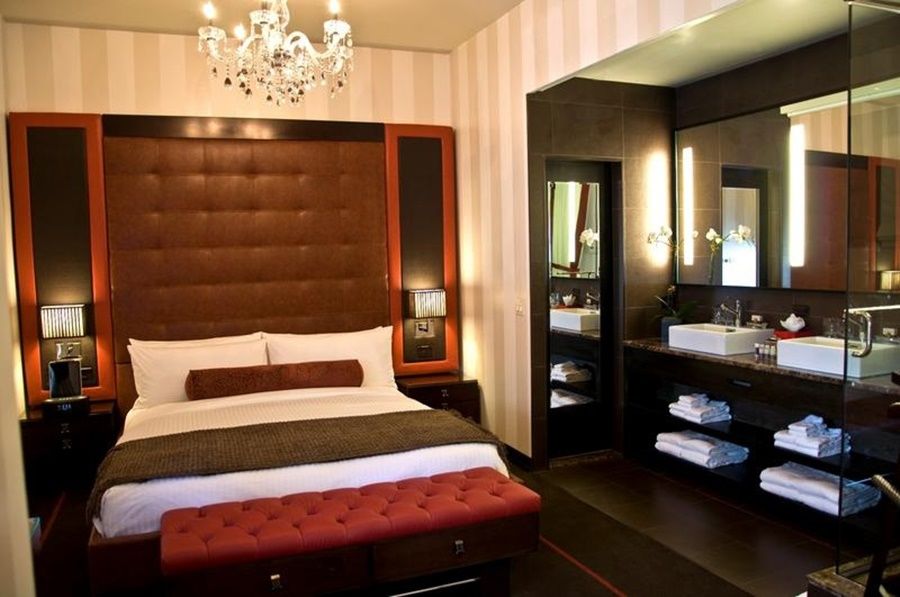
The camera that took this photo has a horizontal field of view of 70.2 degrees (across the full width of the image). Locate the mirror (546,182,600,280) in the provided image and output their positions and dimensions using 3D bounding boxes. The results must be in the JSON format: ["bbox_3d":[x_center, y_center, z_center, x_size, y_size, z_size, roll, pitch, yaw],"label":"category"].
[{"bbox_3d":[1.054,-0.564,5.412,0.577,0.798,0.147,-7,13,-28],"label":"mirror"}]

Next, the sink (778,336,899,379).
[{"bbox_3d":[2.466,0.363,4.050,0.511,0.131,0.447,0,-1,-28],"label":"sink"}]

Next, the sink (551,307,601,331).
[{"bbox_3d":[1.060,0.136,5.456,0.250,0.108,0.266,-3,7,-34],"label":"sink"}]

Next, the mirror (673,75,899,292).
[{"bbox_3d":[2.393,-0.816,4.552,0.067,1.274,1.854,0,-1,-31],"label":"mirror"}]

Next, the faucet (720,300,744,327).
[{"bbox_3d":[2.389,0.125,5.407,0.074,0.220,0.240,-4,12,-16],"label":"faucet"}]

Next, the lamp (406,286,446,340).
[{"bbox_3d":[-0.249,0.134,5.898,0.467,0.567,0.185,-2,7,-19],"label":"lamp"}]

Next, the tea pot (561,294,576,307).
[{"bbox_3d":[1.002,0.027,5.406,0.105,0.065,0.096,-1,-3,0],"label":"tea pot"}]

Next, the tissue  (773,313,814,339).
[{"bbox_3d":[2.640,0.222,4.932,0.202,0.143,0.202,2,8,35],"label":"tissue "}]

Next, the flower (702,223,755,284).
[{"bbox_3d":[2.345,-0.376,5.372,0.417,0.540,0.237,4,-3,34],"label":"flower"}]

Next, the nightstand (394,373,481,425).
[{"bbox_3d":[-0.089,0.842,5.681,0.590,0.556,0.452,-1,1,-26],"label":"nightstand"}]

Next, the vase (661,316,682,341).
[{"bbox_3d":[1.853,0.259,5.475,0.196,0.209,0.179,-2,5,-31],"label":"vase"}]

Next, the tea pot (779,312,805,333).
[{"bbox_3d":[2.631,0.198,4.919,0.117,0.143,0.161,4,-15,-28],"label":"tea pot"}]
